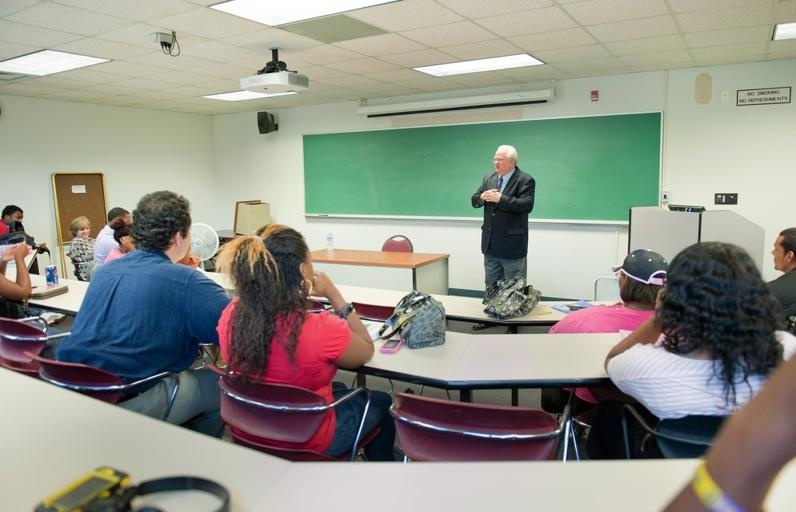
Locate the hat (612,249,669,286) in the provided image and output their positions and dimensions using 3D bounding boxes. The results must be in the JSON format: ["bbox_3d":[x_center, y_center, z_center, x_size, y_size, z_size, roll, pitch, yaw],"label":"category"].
[{"bbox_3d":[1.280,0.036,2.709,0.214,0.151,0.280,0,16,-15],"label":"hat"}]

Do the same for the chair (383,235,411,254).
[{"bbox_3d":[0.011,-0.142,5.927,0.214,0.333,0.239,0,3,11],"label":"chair"}]

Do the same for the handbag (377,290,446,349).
[{"bbox_3d":[0.078,0.361,2.905,0.413,0.257,0.298,-6,8,-12],"label":"handbag"}]

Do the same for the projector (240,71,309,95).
[{"bbox_3d":[-1.172,-1.663,4.912,0.605,0.177,0.354,5,6,19],"label":"projector"}]

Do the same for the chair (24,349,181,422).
[{"bbox_3d":[-1.456,0.587,2.464,0.635,0.228,0.236,3,6,1],"label":"chair"}]

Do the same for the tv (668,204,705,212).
[{"bbox_3d":[2.645,-0.436,4.688,0.180,0.040,0.173,8,13,41],"label":"tv"}]

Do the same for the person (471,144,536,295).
[{"bbox_3d":[1.019,-0.373,5.110,0.577,1.415,0.609,4,6,8],"label":"person"}]

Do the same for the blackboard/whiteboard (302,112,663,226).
[{"bbox_3d":[0.751,-1.089,6.977,5.085,1.276,0.159,4,12,29],"label":"blackboard/whiteboard"}]

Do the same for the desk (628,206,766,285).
[{"bbox_3d":[2.842,-0.156,4.966,0.847,0.531,0.897,0,5,-14],"label":"desk"}]

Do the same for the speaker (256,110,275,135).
[{"bbox_3d":[-2.094,-2.114,8.164,0.274,0.349,0.349,9,14,32],"label":"speaker"}]
